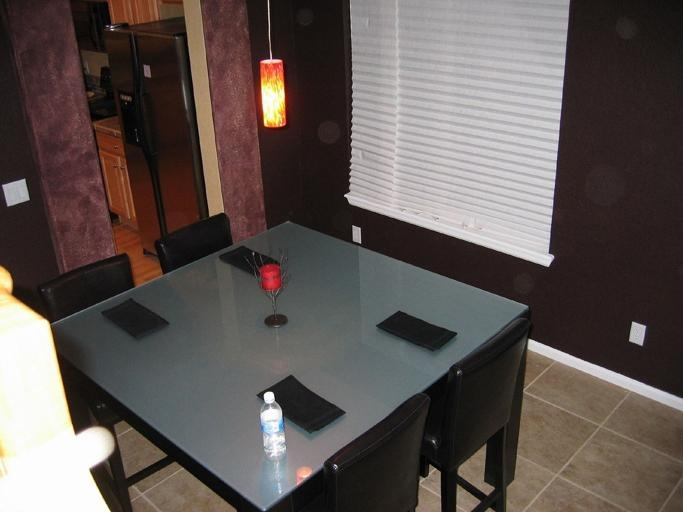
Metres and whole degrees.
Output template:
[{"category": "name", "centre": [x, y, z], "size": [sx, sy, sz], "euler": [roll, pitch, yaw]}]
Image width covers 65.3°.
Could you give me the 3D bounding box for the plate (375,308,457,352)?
[{"category": "plate", "centre": [0.342, 0.342, 2.446], "size": [0.234, 0.035, 0.169], "euler": [21, 34, 35]}]

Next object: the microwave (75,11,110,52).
[{"category": "microwave", "centre": [-2.642, -2.389, 5.606], "size": [0.245, 0.466, 0.668], "euler": [-6, 25, -41]}]

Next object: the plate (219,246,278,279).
[{"category": "plate", "centre": [-0.556, 0.022, 3.083], "size": [0.270, 0.051, 0.169], "euler": [26, 39, 32]}]
